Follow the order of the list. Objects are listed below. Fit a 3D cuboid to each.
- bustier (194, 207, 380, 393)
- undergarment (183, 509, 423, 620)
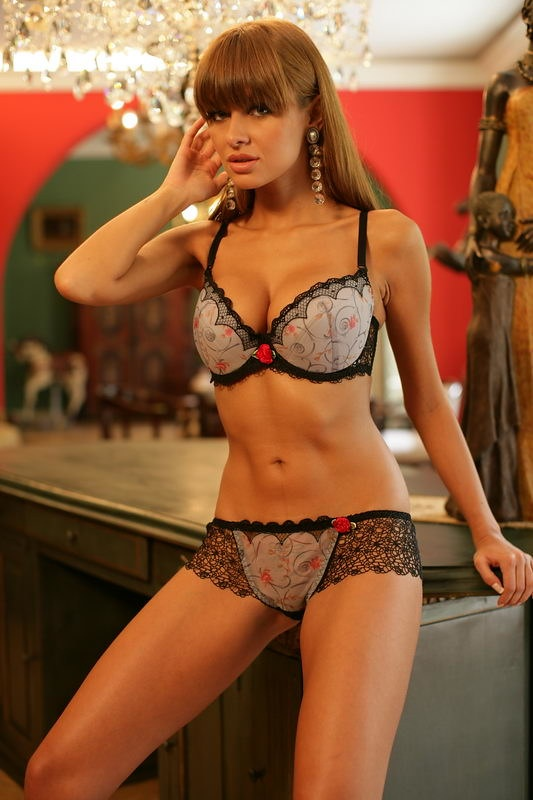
[{"bbox_3d":[0.040,-0.152,1.159,0.262,0.185,0.331,-3,64,22],"label":"bustier"},{"bbox_3d":[0.052,0.255,1.146,0.381,0.123,0.138,-7,58,26],"label":"undergarment"}]
